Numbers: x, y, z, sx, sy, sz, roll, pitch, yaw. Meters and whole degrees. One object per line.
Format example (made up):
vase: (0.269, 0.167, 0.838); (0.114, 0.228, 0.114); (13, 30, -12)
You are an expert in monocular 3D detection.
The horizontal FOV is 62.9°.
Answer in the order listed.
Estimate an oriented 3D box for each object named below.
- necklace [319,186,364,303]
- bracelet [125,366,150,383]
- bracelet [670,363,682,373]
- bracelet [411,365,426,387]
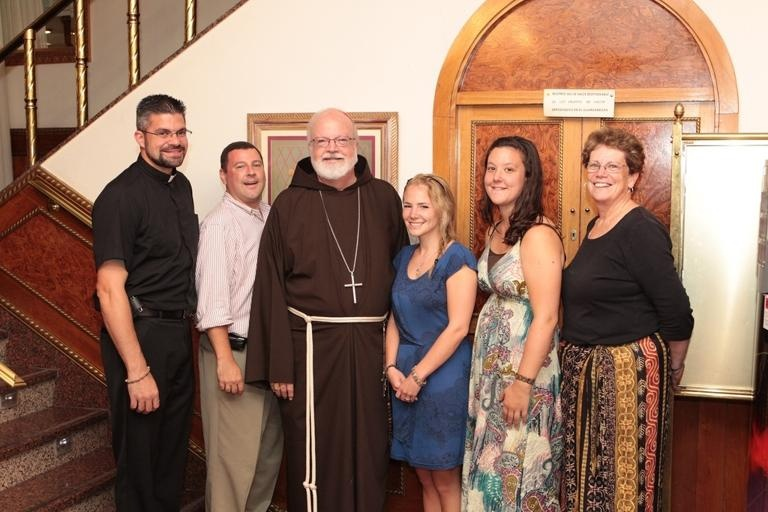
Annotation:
necklace: (-0.188, -0.063, 3.578); (0.198, 0.718, 0.013); (-3, -15, -9)
bracelet: (-1.368, 0.657, 3.494); (0.106, 0.032, 0.106); (-16, 4, -42)
bracelet: (1.593, 0.608, 3.417); (0.068, 0.054, 0.063); (-1, 3, -12)
bracelet: (0.189, 0.660, 3.446); (0.074, 0.102, 0.041); (0, 4, 2)
